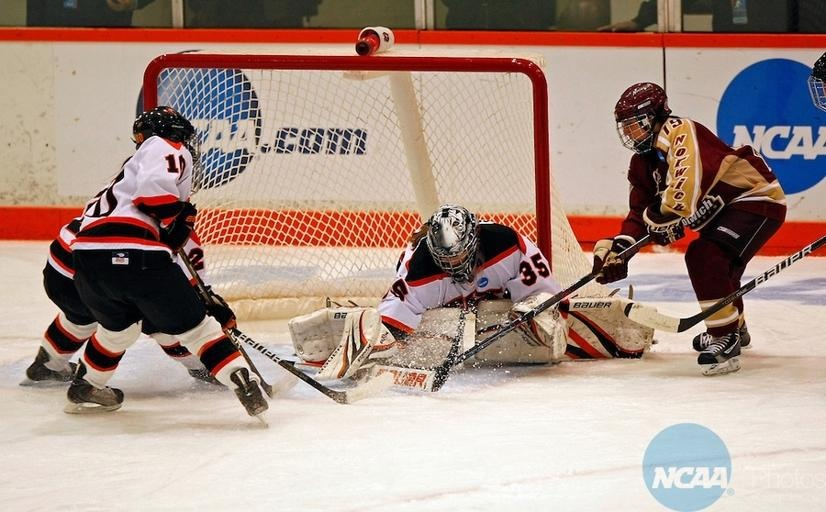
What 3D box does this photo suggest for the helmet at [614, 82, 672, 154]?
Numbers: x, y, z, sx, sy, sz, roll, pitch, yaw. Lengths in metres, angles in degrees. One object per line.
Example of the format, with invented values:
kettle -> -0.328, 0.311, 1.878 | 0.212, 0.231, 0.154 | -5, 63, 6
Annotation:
helmet -> 1.306, -0.759, 5.052 | 0.337, 0.366, 0.316 | -7, 5, 39

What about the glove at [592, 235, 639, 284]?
glove -> 1.152, 0.033, 5.069 | 0.283, 0.267, 0.112 | -16, -44, 41

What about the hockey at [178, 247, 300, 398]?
hockey -> -0.874, 0.312, 4.363 | 0.157, 1.091, 0.142 | -34, 40, 6

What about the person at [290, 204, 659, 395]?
person -> 0.197, 0.204, 4.854 | 1.410, 0.556, 1.082 | -6, 11, 14

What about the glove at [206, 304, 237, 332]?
glove -> -0.961, 0.307, 4.607 | 0.159, 0.094, 0.051 | 36, 9, -12

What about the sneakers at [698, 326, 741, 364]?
sneakers -> 1.647, 0.494, 4.847 | 0.117, 0.135, 0.354 | -5, -1, 43

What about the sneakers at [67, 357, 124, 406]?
sneakers -> -1.567, 0.628, 4.542 | 0.142, 0.280, 0.320 | 13, -2, 31

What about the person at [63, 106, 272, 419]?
person -> -1.204, 0.015, 4.500 | 0.954, 1.450, 0.590 | 1, 14, 8

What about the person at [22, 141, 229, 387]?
person -> -1.552, 0.058, 5.018 | 1.228, 1.304, 0.825 | 25, 28, 31

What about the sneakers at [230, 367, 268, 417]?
sneakers -> -0.812, 0.653, 4.404 | 0.139, 0.267, 0.073 | -26, -17, -25
